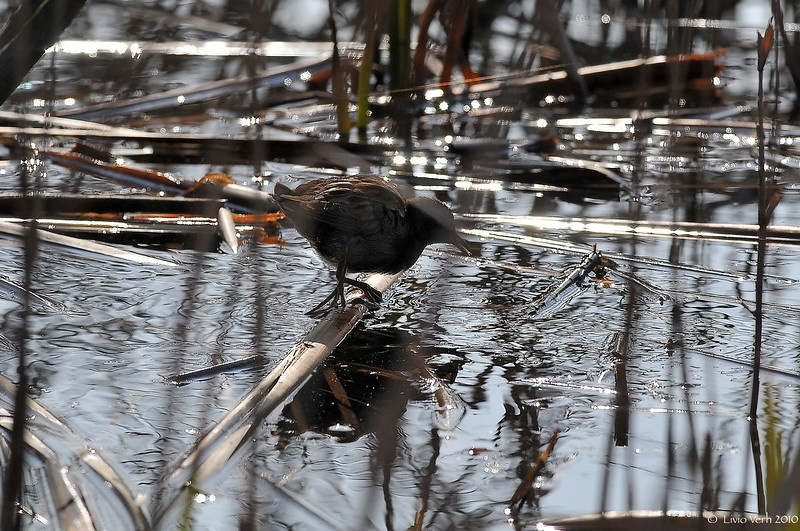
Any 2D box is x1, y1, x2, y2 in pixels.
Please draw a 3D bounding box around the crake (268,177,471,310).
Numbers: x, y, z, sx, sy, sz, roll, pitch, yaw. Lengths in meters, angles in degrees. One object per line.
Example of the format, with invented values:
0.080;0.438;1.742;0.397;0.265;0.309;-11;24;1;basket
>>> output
-0.121;-0.068;2.930;0.690;0.539;0.227;9;-16;-7;crake
